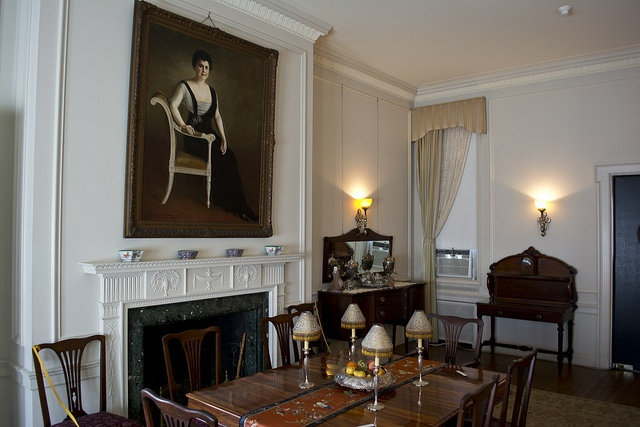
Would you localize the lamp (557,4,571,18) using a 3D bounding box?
[{"bbox_3d":[3.220,-2.667,6.320,0.108,0.041,0.105,4,-13,-2],"label":"lamp"}]

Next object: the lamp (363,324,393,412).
[{"bbox_3d":[0.475,1.337,4.175,0.257,0.682,0.286,4,7,13],"label":"lamp"}]

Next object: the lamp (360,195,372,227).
[{"bbox_3d":[0.763,-0.010,8.186,0.208,0.493,0.387,3,7,6],"label":"lamp"}]

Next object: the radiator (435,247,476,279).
[{"bbox_3d":[2.422,0.981,9.019,0.683,0.490,0.391,3,-12,-7],"label":"radiator"}]

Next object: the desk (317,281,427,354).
[{"bbox_3d":[0.969,1.751,7.846,0.662,1.084,2.092,-5,-5,41],"label":"desk"}]

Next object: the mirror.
[{"bbox_3d":[0.627,0.670,7.855,1.456,0.845,0.023,-8,-21,43],"label":"mirror"}]

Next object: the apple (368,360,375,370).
[{"bbox_3d":[0.481,1.439,4.523,0.077,0.081,0.043,-5,0,27],"label":"apple"}]

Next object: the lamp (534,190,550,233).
[{"bbox_3d":[3.750,0.052,8.109,0.278,0.695,0.138,6,8,28],"label":"lamp"}]

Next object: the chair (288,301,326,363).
[{"bbox_3d":[-0.171,1.517,6.098,0.432,0.381,0.838,-3,-36,5],"label":"chair"}]

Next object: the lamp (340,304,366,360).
[{"bbox_3d":[0.348,1.228,4.800,0.259,0.541,0.240,12,-11,-37],"label":"lamp"}]
